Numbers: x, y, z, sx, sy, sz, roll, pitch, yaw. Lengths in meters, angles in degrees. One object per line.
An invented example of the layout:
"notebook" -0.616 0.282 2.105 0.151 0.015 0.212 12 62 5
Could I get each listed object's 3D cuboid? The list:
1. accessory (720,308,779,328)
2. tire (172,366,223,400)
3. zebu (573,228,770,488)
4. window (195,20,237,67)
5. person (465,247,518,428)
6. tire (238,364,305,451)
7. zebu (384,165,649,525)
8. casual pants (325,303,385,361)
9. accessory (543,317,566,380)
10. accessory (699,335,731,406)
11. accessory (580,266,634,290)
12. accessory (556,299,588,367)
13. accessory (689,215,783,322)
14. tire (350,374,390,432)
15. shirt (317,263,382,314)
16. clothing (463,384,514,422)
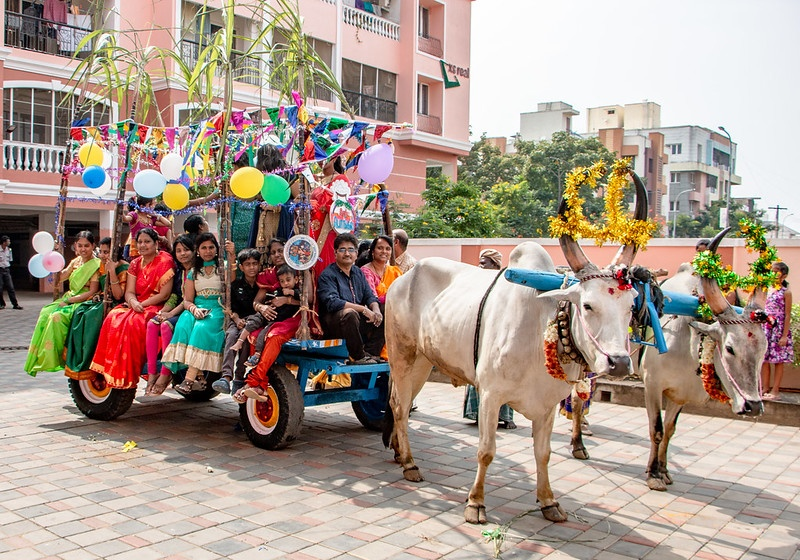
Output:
"accessory" 3.194 0.340 6.324 0.467 0.162 0.188 7 10 33
"tire" -2.690 1.466 9.248 0.699 0.207 0.678 1 17 -25
"zebu" 2.939 0.872 7.545 1.008 2.619 2.904 7 7 -10
"window" -3.647 -4.731 13.233 0.890 0.827 0.461 -3 41 -27
"person" 1.414 0.813 8.958 0.622 2.349 1.294 4 3 -9
"tire" -1.451 1.398 7.605 0.879 0.974 0.300 10 4 41
"zebu" 0.949 0.839 6.591 0.937 2.640 2.691 -6 11 -39
"casual pants" -0.487 0.615 7.856 0.464 0.647 0.708 10 11 43
"accessory" 1.344 0.625 6.020 0.215 0.468 0.140 -2 9 1
"accessory" 3.016 0.846 6.538 0.287 0.636 0.281 5 9 24
"accessory" 1.737 -0.019 5.834 0.457 0.193 0.130 3 9 11
"accessory" 1.441 0.476 6.045 0.159 0.481 0.424 -11 -16 3
"accessory" 3.068 -0.071 6.466 0.800 0.892 0.271 -3 -2 -3
"tire" -0.366 1.480 8.327 0.693 0.693 0.257 12 6 41
"shirt" -0.676 0.112 8.031 0.908 0.694 0.519 0 -6 -41
"clothing" 1.140 1.627 8.817 0.633 0.588 0.517 3 -2 1
